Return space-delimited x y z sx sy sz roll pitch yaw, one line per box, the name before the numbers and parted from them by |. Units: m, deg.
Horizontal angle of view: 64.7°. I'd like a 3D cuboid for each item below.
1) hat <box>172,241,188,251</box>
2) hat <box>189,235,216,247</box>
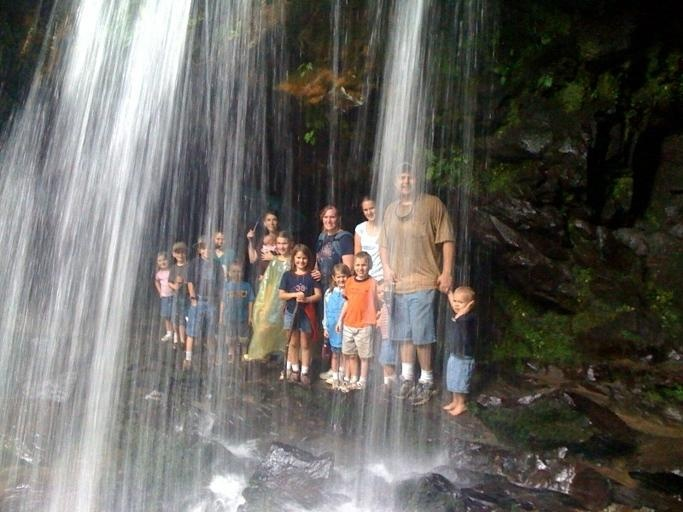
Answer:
hat | -2.835 -0.199 9.520 0.147 0.169 0.203 1 19 7
hat | -2.499 -0.300 9.863 0.391 0.128 0.434 0 0 44
